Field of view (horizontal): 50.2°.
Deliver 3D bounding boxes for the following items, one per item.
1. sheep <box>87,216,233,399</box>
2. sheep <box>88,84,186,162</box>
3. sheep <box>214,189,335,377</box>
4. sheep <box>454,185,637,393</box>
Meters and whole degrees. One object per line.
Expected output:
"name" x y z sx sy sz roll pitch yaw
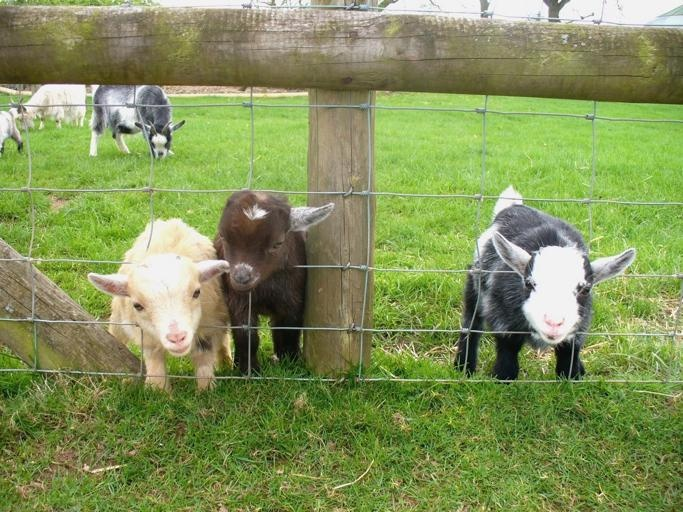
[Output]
"sheep" -1.332 0.402 5.613 0.822 1.360 1.874 -9 22 -17
"sheep" -3.785 -2.428 13.416 2.631 1.465 0.757 18 19 39
"sheep" -0.490 0.198 5.238 0.745 1.340 0.701 -1 14 -13
"sheep" 1.514 0.350 5.818 0.909 1.600 2.341 0 12 -2
